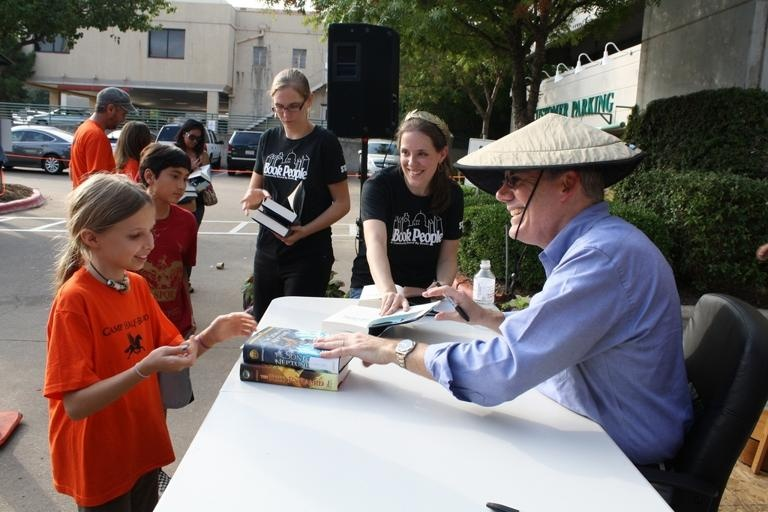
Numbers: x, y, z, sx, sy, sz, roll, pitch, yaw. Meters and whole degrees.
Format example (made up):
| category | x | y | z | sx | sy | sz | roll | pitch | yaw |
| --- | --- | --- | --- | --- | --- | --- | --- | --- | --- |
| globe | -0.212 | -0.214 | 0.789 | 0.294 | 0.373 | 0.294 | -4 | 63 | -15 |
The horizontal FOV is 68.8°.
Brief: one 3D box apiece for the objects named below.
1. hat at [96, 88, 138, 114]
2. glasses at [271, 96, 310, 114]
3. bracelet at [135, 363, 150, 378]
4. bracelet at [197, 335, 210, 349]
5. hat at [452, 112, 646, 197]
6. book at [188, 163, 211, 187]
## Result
| category | x | y | z | sx | sy | sz | roll | pitch | yaw |
| --- | --- | --- | --- | --- | --- | --- | --- | --- | --- |
| hat | -2.892 | -1.724 | 6.131 | 0.477 | 0.274 | 0.319 | -10 | 22 | -42 |
| glasses | -0.692 | -1.141 | 4.196 | 0.213 | 0.118 | 0.088 | 5 | 7 | -4 |
| bracelet | -1.079 | 0.519 | 2.516 | 0.060 | 0.062 | 0.062 | -5 | -18 | 10 |
| bracelet | -0.899 | 0.428 | 2.793 | 0.056 | 0.049 | 0.060 | 2 | -2 | 6 |
| hat | 0.750 | -0.467 | 2.584 | 0.579 | 0.228 | 0.447 | -2 | -3 | 8 |
| book | -1.958 | -0.861 | 5.846 | 0.327 | 0.128 | 0.261 | -1 | 24 | -2 |
